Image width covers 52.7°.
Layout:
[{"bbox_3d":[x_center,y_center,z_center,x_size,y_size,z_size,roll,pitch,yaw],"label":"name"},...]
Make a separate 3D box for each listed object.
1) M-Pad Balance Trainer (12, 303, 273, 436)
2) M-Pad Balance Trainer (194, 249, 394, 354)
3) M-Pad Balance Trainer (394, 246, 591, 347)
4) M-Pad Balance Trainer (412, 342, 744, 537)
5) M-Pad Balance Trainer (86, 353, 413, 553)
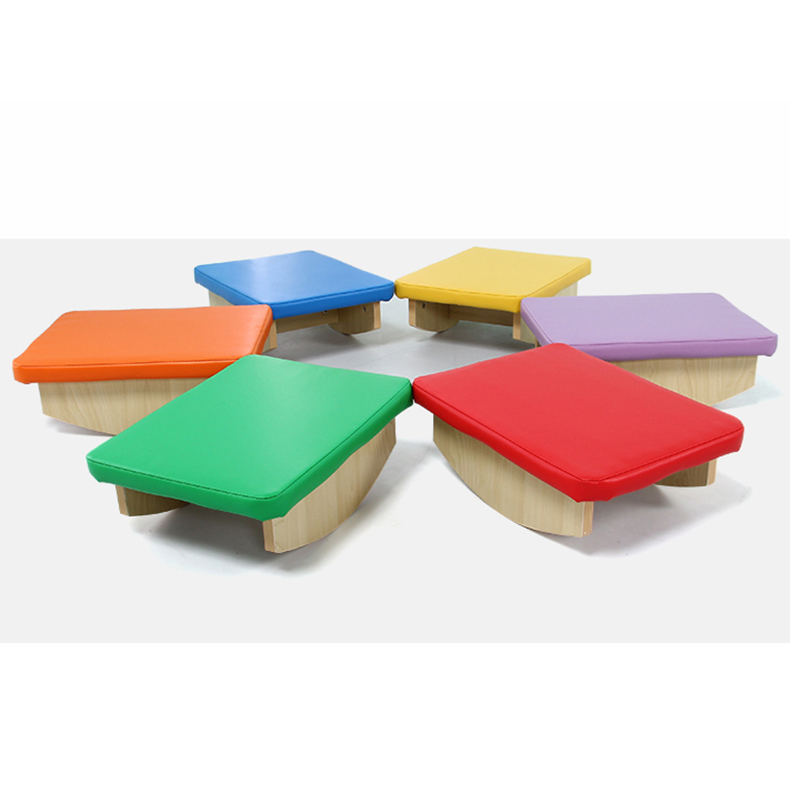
[{"bbox_3d":[-0.936,-0.090,3.048,0.831,0.256,0.516,2,30,11],"label":"M-Pad Balance Trainer"},{"bbox_3d":[-0.552,-0.442,3.827,0.731,0.294,0.819,-14,28,-33],"label":"M-Pad Balance Trainer"},{"bbox_3d":[0.442,-0.566,3.798,0.590,0.260,0.657,11,29,31],"label":"M-Pad Balance Trainer"},{"bbox_3d":[0.537,0.074,2.395,0.642,0.294,0.862,-20,31,-25],"label":"M-Pad Balance Trainer"},{"bbox_3d":[-0.418,0.159,2.504,0.669,0.277,0.791,14,32,26],"label":"M-Pad Balance Trainer"}]
